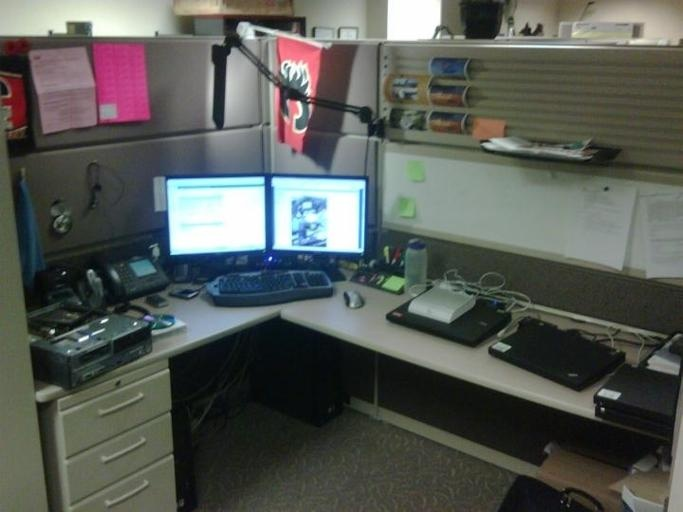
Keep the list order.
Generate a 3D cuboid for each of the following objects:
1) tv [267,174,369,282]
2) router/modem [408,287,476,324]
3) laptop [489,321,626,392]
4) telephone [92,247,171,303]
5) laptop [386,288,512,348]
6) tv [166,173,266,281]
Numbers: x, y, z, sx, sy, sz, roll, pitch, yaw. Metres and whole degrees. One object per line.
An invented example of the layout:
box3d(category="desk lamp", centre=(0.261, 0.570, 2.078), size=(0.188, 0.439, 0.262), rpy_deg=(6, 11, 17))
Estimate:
box3d(category="tv", centre=(-0.118, -0.147, 2.655), size=(0.461, 0.504, 0.159), rpy_deg=(2, 9, 8))
box3d(category="router/modem", centre=(0.411, 0.188, 2.310), size=(0.159, 0.041, 0.165), rpy_deg=(18, 31, 41))
box3d(category="laptop", centre=(0.786, 0.354, 2.085), size=(0.382, 0.064, 0.334), rpy_deg=(21, 28, 40))
box3d(category="telephone", centre=(-0.940, 0.017, 2.511), size=(0.214, 0.198, 0.283), rpy_deg=(18, 20, 31))
box3d(category="laptop", centre=(0.446, 0.235, 2.324), size=(0.427, 0.081, 0.336), rpy_deg=(14, 25, 29))
box3d(category="tv", centre=(-0.587, -0.149, 2.618), size=(0.474, 0.508, 0.052), rpy_deg=(-3, 15, -13))
